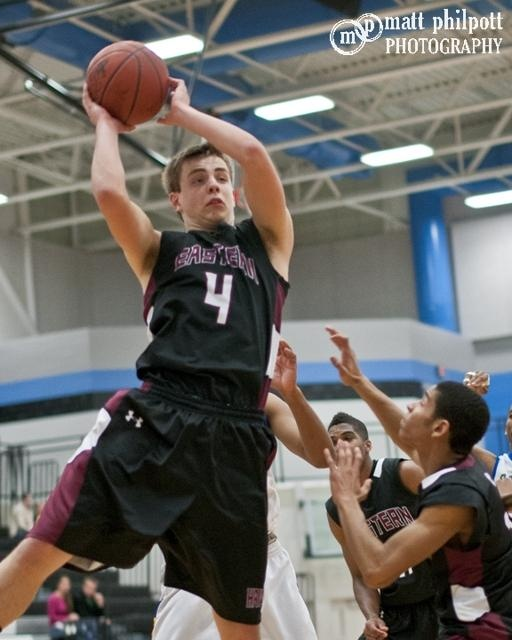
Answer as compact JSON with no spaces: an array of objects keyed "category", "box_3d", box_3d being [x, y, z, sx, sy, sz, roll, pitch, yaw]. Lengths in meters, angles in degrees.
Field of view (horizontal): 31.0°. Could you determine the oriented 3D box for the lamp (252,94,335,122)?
[{"category":"lamp","box_3d":[0.565,-3.074,13.380,1.224,0.320,0.555,-3,3,25]}]
